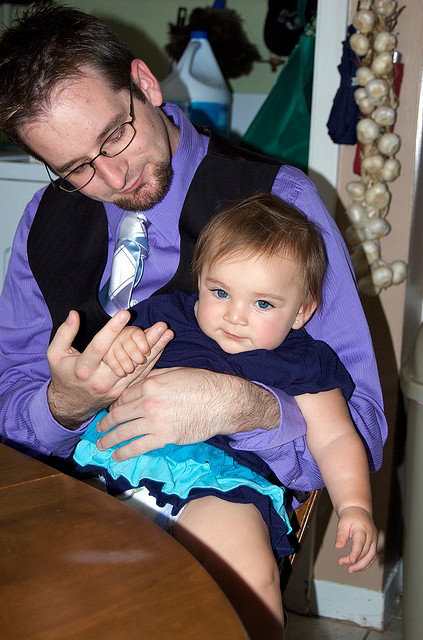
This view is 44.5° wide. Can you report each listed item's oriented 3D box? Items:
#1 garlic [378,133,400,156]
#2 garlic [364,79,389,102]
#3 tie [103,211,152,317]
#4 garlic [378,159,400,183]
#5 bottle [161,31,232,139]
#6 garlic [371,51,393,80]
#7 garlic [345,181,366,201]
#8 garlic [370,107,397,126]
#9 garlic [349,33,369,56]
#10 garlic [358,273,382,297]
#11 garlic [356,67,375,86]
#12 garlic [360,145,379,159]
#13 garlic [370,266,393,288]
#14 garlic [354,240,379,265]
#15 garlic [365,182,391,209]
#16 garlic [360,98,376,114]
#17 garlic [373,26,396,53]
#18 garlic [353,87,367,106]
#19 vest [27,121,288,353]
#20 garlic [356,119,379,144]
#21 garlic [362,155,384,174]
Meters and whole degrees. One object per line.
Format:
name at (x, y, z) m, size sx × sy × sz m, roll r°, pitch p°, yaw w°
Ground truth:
garlic at (0.413, -0.405, 1.198) m, size 0.049 × 0.046 × 0.026 m, roll 8°, pitch 1°, yaw -1°
garlic at (0.379, -0.511, 1.166) m, size 0.046 × 0.042 × 0.023 m, roll 0°, pitch 7°, yaw 0°
tie at (-0.157, -0.109, 0.976) m, size 0.069 × 0.217 × 0.061 m, roll 11°, pitch -11°, yaw 4°
garlic at (0.419, -0.354, 1.224) m, size 0.033 × 0.034 × 0.052 m, roll -23°, pitch 1°, yaw -31°
bottle at (-0.047, -0.766, 1.774) m, size 0.242 × 0.389 × 0.267 m, roll -3°, pitch 22°, yaw -7°
garlic at (0.384, -0.570, 1.161) m, size 0.047 × 0.059 × 0.034 m, roll 3°, pitch 0°, yaw 28°
garlic at (0.353, -0.315, 1.276) m, size 0.038 × 0.048 × 0.038 m, roll -12°, pitch 14°, yaw 0°
garlic at (0.397, -0.469, 1.196) m, size 0.056 × 0.039 × 0.031 m, roll 9°, pitch 32°, yaw 10°
garlic at (0.336, -0.621, 1.170) m, size 0.038 × 0.047 × 0.027 m, roll 11°, pitch 25°, yaw 29°
garlic at (0.396, -0.086, 1.308) m, size 0.056 × 0.053 × 0.021 m, roll 4°, pitch 7°, yaw 31°
garlic at (0.348, -0.552, 1.173) m, size 0.039 × 0.037 × 0.019 m, roll 14°, pitch 18°, yaw 27°
garlic at (0.376, -0.398, 1.230) m, size 0.030 × 0.028 × 0.012 m, roll 2°, pitch 6°, yaw 34°
garlic at (0.424, -0.103, 1.259) m, size 0.052 × 0.048 × 0.027 m, roll 1°, pitch -2°, yaw 13°
garlic at (0.385, -0.166, 1.286) m, size 0.059 × 0.053 × 0.020 m, roll 4°, pitch 8°, yaw 36°
garlic at (0.401, -0.297, 1.240) m, size 0.059 × 0.058 × 0.033 m, roll 16°, pitch -8°, yaw -8°
garlic at (0.363, -0.489, 1.203) m, size 0.030 × 0.030 × 0.037 m, roll 5°, pitch 3°, yaw 5°
garlic at (0.385, -0.620, 1.154) m, size 0.049 × 0.047 × 0.026 m, roll -10°, pitch 14°, yaw -23°
garlic at (0.340, -0.514, 1.195) m, size 0.026 × 0.032 × 0.027 m, roll -4°, pitch -13°, yaw 8°
vest at (-0.098, -0.138, 0.926) m, size 0.317 × 0.396 × 0.228 m, roll 26°, pitch 33°, yaw 29°
garlic at (0.363, -0.436, 1.201) m, size 0.051 × 0.049 × 0.026 m, roll 16°, pitch 7°, yaw 27°
garlic at (0.382, -0.363, 1.218) m, size 0.040 × 0.036 × 0.020 m, roll 4°, pitch 3°, yaw 41°
